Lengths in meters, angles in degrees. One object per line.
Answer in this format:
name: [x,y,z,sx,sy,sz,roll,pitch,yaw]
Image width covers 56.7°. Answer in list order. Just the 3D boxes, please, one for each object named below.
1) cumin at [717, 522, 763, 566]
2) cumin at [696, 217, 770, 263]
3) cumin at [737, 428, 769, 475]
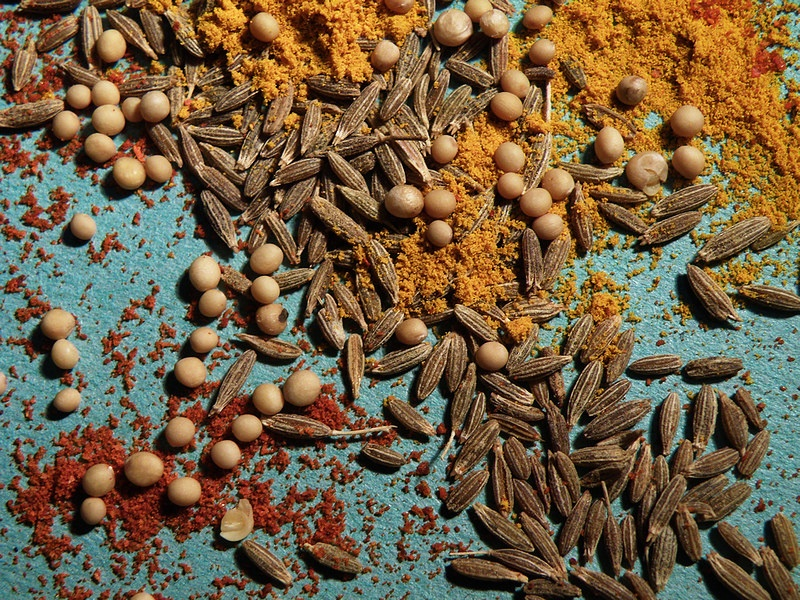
cumin: [1.608,1.151,3.553,0.264,0.095,0.106,42,75,12]
cumin: [1.638,-0.294,3.711,0.480,0.109,0.149,-25,83,-1]
cumin: [1.716,0.742,3.573,0.109,0.172,0.197,36,48,7]
